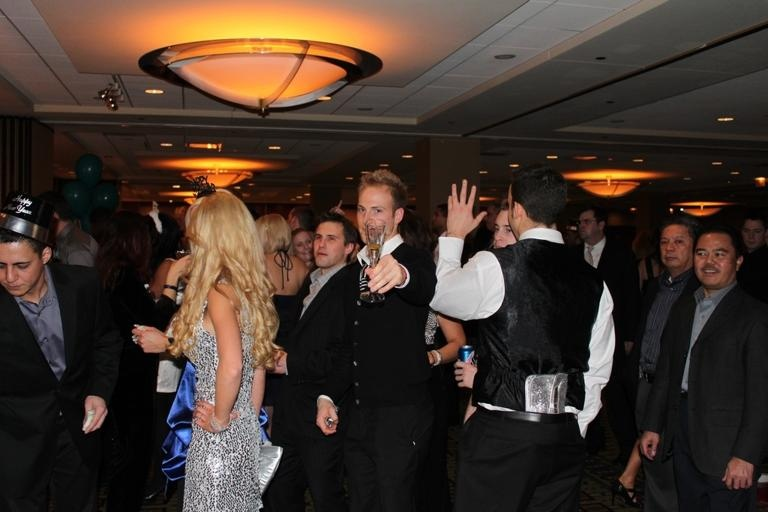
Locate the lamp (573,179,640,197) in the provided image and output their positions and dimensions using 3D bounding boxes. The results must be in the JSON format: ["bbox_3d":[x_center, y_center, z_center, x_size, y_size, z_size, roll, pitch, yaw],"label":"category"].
[{"bbox_3d":[6.653,-2.007,16.185,0.917,0.241,0.860,2,-2,-30],"label":"lamp"}]
